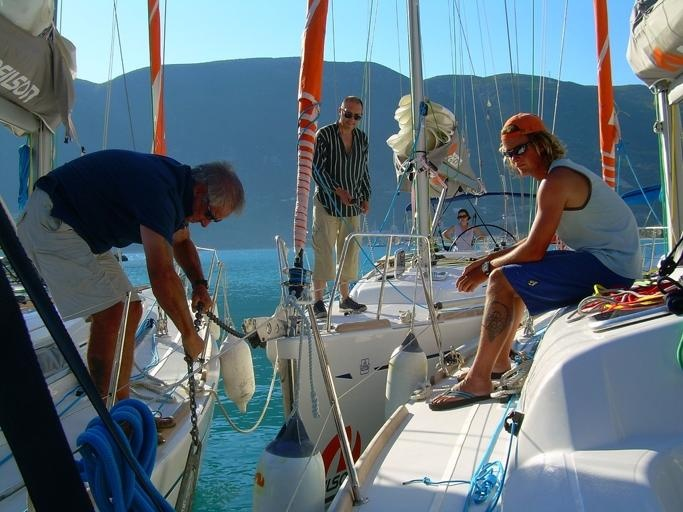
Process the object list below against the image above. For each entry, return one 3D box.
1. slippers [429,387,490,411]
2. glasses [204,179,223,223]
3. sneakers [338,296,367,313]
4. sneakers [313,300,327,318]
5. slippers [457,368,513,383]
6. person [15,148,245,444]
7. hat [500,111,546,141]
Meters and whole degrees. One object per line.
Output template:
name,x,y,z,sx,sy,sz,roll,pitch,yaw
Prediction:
slippers,0.550,0.646,2.563,0.255,0.094,0.115,-3,-5,13
glasses,-0.553,-0.234,2.460,0.034,0.143,0.109,9,-9,-42
sneakers,0.088,0.380,4.230,0.202,0.134,0.093,1,1,-4
sneakers,-0.152,0.388,3.946,0.071,0.108,0.215,0,1,-14
slippers,0.742,0.610,2.812,0.227,0.103,0.148,2,-7,0
person,-0.917,0.057,2.396,0.917,1.203,0.441,-4,2,13
hat,0.913,-0.663,2.749,0.155,0.102,0.120,-18,22,-19
